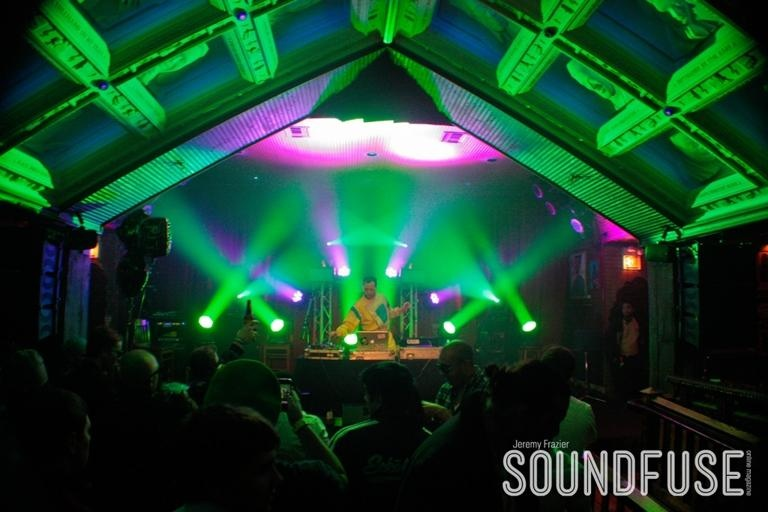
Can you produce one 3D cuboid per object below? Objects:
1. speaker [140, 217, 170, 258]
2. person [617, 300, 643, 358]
[{"bbox_3d":[-3.181,-0.273,8.916,0.359,0.555,0.238,3,-15,-2],"label":"speaker"},{"bbox_3d":[5.290,1.613,13.672,0.464,1.173,0.768,-1,-15,13],"label":"person"}]
